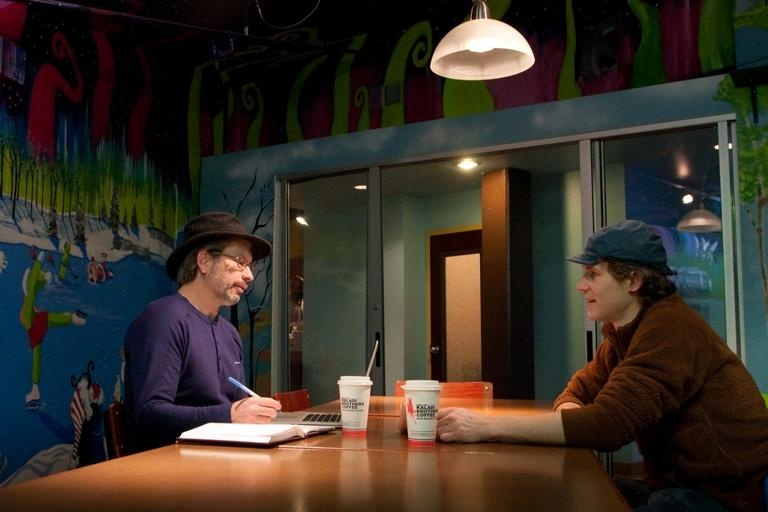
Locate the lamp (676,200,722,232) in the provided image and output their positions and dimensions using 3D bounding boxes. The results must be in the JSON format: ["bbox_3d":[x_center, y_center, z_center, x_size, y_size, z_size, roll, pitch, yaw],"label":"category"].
[{"bbox_3d":[2.174,-0.264,4.267,0.204,0.131,0.206,-4,-7,43],"label":"lamp"}]

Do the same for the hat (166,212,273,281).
[{"bbox_3d":[-0.914,-0.130,3.296,0.476,0.197,0.395,-13,-24,20],"label":"hat"}]

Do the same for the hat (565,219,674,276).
[{"bbox_3d":[1.059,-0.033,2.739,0.347,0.174,0.237,6,-4,16],"label":"hat"}]

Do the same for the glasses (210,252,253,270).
[{"bbox_3d":[-0.792,0.008,3.222,0.109,0.032,0.111,21,-4,25],"label":"glasses"}]
